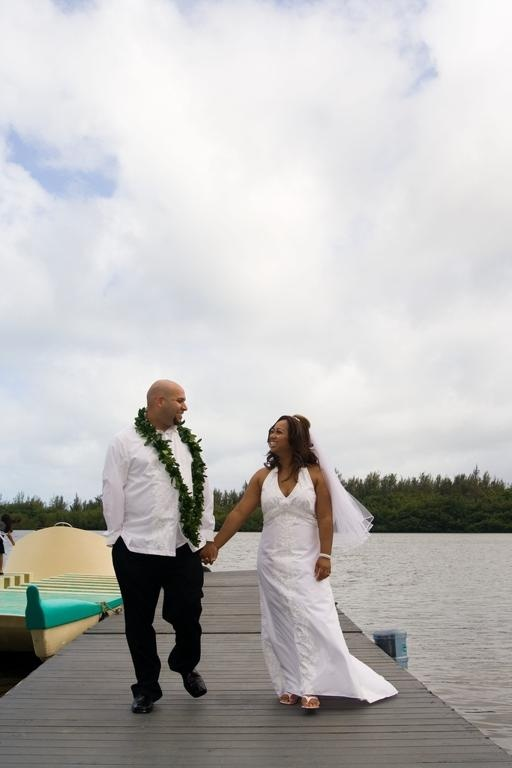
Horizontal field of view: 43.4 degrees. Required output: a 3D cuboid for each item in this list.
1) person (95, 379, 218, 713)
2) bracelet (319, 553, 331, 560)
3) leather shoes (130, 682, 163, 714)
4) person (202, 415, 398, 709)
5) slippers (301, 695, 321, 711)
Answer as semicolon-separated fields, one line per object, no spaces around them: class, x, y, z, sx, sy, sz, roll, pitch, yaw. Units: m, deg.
person;-0.500;0.857;3.449;0.397;1.732;0.654;-6;-15;35
bracelet;0.392;0.987;3.669;0.051;0.019;0.049;8;-34;13
leather shoes;-0.583;1.653;3.346;0.089;0.092;0.229;7;-24;2
person;0.262;0.989;3.722;0.938;1.628;0.440;0;-12;11
slippers;0.286;1.694;3.398;0.096;0.074;0.150;1;-12;6
